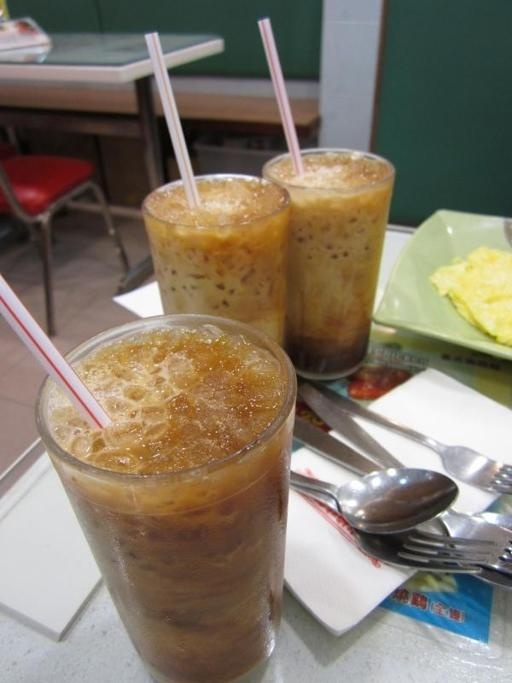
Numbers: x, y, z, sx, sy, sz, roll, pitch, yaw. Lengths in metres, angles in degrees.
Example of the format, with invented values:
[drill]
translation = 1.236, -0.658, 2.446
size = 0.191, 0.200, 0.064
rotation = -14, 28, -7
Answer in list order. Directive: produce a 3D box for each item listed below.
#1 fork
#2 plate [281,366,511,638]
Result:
[fork]
translation = 0.137, 0.153, 0.730
size = 0.086, 0.036, 0.325
rotation = -24, 35, -28
[plate]
translation = 0.098, 0.162, 0.602
size = 0.232, 0.027, 0.252
rotation = 23, 39, 30
